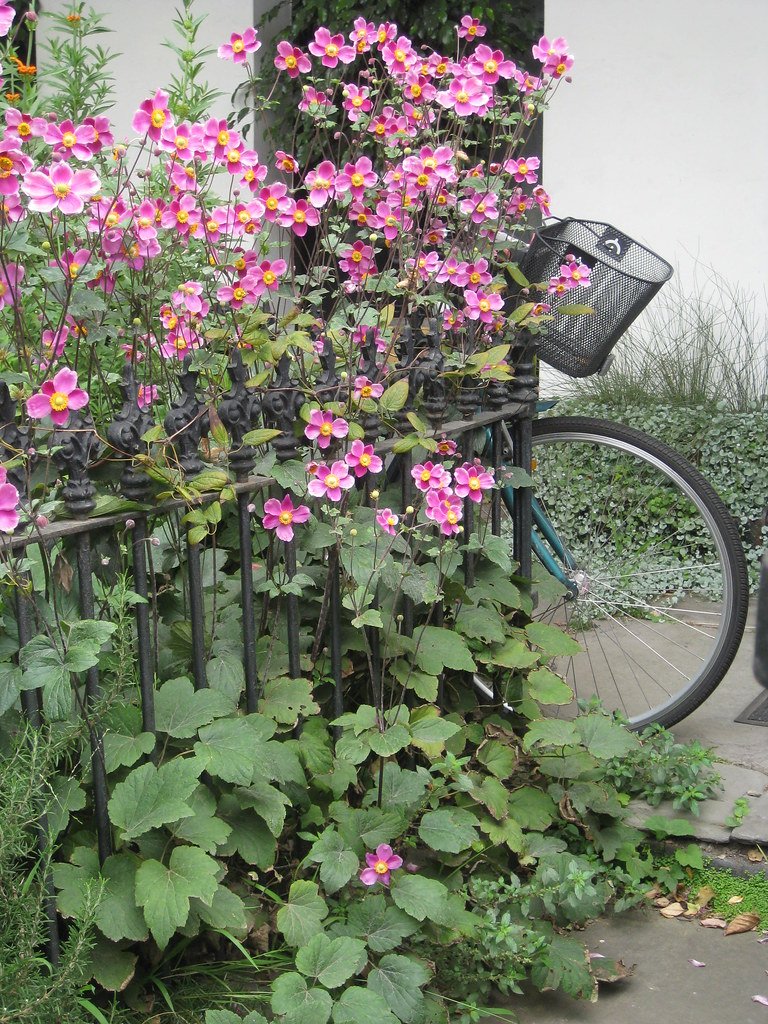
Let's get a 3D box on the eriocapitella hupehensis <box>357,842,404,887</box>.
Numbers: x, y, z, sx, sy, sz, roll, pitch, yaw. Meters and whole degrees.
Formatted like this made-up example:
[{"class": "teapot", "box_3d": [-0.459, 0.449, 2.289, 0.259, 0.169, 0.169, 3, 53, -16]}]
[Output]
[{"class": "eriocapitella hupehensis", "box_3d": [-0.014, 0.639, 1.637, 0.091, 0.084, 0.035, 8, 4, -20]}]
